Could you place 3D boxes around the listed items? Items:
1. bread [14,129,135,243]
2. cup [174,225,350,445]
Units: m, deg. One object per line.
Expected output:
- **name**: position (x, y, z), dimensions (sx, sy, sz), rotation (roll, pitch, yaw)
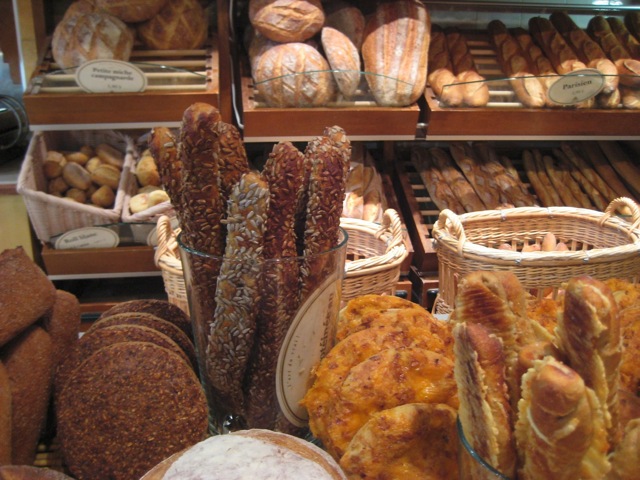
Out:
- **bread**: position (-0.873, -0.199, 2.035), dimensions (0.294, 0.194, 0.448), rotation (-1, 43, -19)
- **cup**: position (-0.090, 0.062, 0.790), dimensions (0.215, 0.332, 0.209), rotation (6, 43, -5)
